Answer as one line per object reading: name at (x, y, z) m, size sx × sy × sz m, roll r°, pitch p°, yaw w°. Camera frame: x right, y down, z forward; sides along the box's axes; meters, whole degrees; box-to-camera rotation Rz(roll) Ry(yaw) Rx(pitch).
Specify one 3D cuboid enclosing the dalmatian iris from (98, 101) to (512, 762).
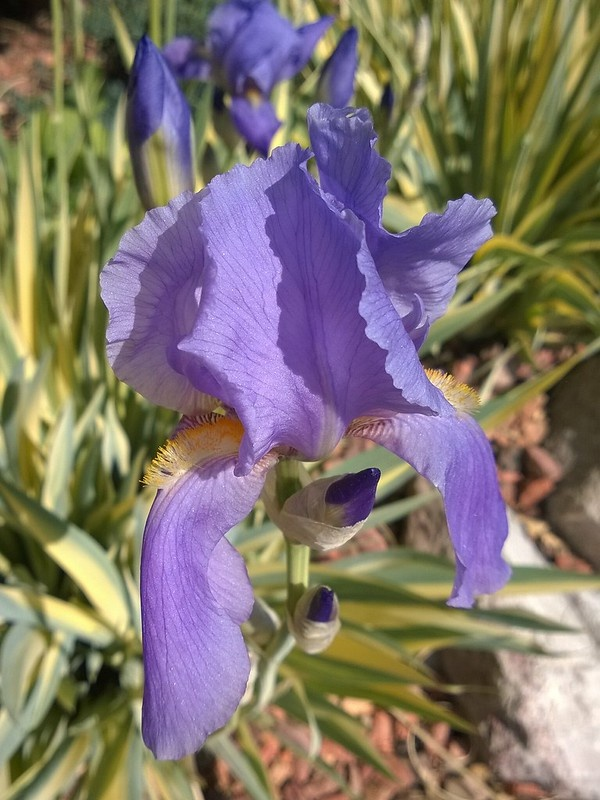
dalmatian iris at (0.010, 0.025, 0.761) m, size 0.479 × 0.324 × 0.489 m, roll -15°, pitch 64°, yaw -3°
